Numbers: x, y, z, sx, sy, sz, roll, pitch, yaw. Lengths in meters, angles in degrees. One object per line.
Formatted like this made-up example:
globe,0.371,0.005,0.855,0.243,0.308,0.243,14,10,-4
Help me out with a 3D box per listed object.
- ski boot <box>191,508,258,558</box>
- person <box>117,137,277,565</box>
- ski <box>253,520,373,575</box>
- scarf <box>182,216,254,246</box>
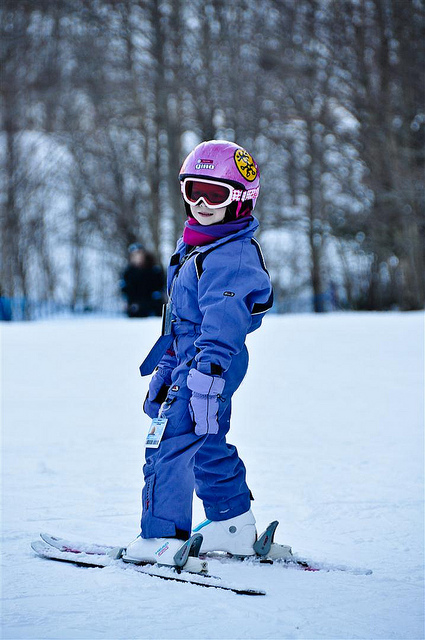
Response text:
ski boot,0.057,0.785,3.585,0.325,0.130,0.136,1,3,18
person,-0.048,0.096,3.711,0.566,1.555,0.821,-2,-4,3
ski,0.420,0.806,3.507,0.550,0.169,0.148,3,2,11
scarf,0.027,-0.321,3.553,0.260,0.109,0.091,-2,-4,-1
